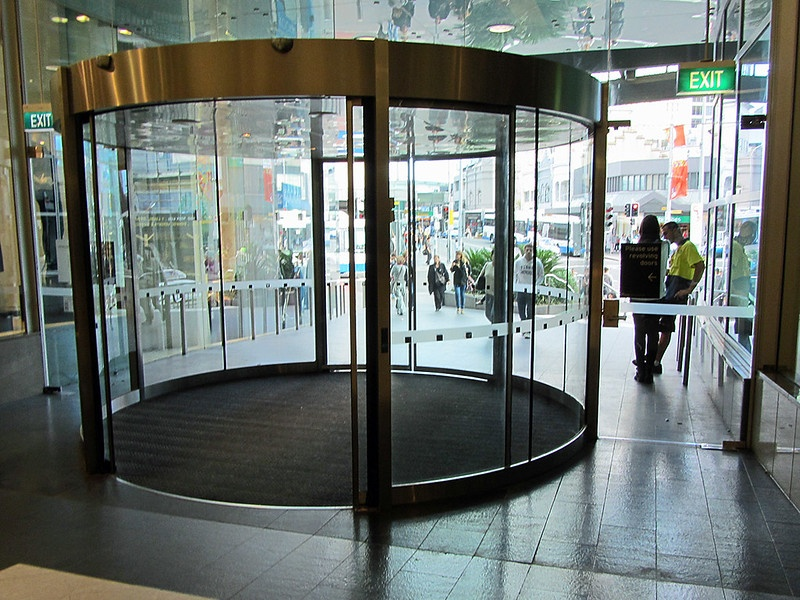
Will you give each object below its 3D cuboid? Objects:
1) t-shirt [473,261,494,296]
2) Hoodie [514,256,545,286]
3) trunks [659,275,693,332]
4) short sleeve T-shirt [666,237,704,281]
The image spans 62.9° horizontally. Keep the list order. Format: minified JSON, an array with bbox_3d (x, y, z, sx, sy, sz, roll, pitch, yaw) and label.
[{"bbox_3d":[0.739,-0.181,5.564,0.202,0.260,0.167,2,5,-30],"label":"t-shirt"},{"bbox_3d":[1.129,-0.257,5.740,0.212,0.298,0.145,-1,7,-11],"label":"Hoodie"},{"bbox_3d":[3.001,0.015,7.040,0.323,0.778,0.233,17,34,35],"label":"trunks"},{"bbox_3d":[3.110,-0.424,7.085,0.193,0.350,0.351,24,-10,-1],"label":"short sleeve T-shirt"}]
